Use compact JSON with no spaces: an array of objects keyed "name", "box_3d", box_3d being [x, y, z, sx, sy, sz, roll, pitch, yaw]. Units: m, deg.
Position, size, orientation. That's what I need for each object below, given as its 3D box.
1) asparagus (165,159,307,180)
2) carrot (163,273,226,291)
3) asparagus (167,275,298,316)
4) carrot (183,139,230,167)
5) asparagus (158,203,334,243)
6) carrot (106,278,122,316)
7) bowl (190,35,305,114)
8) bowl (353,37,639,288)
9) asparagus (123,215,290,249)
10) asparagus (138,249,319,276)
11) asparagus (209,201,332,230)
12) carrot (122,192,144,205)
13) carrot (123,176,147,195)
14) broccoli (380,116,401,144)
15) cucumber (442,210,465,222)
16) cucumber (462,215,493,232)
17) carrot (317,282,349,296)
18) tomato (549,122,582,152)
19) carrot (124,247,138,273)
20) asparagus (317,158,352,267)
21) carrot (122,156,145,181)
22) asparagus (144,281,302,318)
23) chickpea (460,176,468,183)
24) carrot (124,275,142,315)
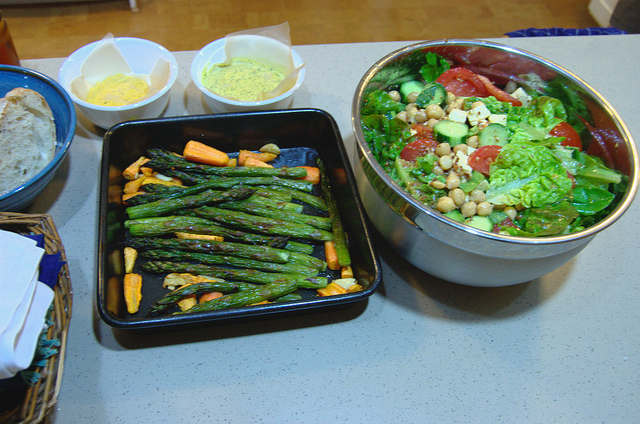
[{"name":"asparagus","box_3d":[-0.349,-0.164,1.992,0.541,0.060,0.057,1,41,-2]},{"name":"carrot","box_3d":[-0.408,0.231,1.782,0.271,0.066,0.058,-1,100,-11]},{"name":"asparagus","box_3d":[-0.256,0.287,1.735,0.390,0.045,0.064,-14,61,-10]},{"name":"carrot","box_3d":[-0.448,-0.223,1.993,0.188,0.067,0.071,16,72,-4]},{"name":"asparagus","box_3d":[-0.295,0.044,1.881,0.624,0.075,0.054,7,100,1]},{"name":"carrot","box_3d":[-0.678,0.275,1.684,0.032,0.082,0.091,-8,78,16]},{"name":"bowl","box_3d":[-0.293,-0.550,2.132,0.458,0.179,0.441,1,58,-1]},{"name":"bowl","box_3d":[0.586,-0.079,2.165,1.188,0.540,0.916,-1,59,-3]},{"name":"asparagus","box_3d":[-0.422,0.076,1.855,0.521,0.070,0.069,4,38,-6]},{"name":"asparagus","box_3d":[-0.331,0.180,1.808,0.529,0.048,0.044,5,83,-2]},{"name":"asparagus","box_3d":[-0.202,0.015,1.899,0.438,0.045,0.053,8,76,0]},{"name":"carrot","box_3d":[-0.700,-0.049,1.927,0.054,0.057,0.018,-43,113,-53]},{"name":"carrot","box_3d":[-0.700,-0.098,1.937,0.074,0.024,0.039,-41,95,-31]},{"name":"broccoli","box_3d":[0.257,-0.291,1.854,0.077,0.098,0.029,-16,40,18]},{"name":"cucumber","box_3d":[0.451,0.012,1.724,0.057,0.043,0.024,11,87,23]},{"name":"cucumber","box_3d":[0.533,0.033,1.715,0.101,0.017,0.058,9,58,5]},{"name":"carrot","box_3d":[0.042,0.270,1.769,0.073,0.030,0.060,-30,64,-18]},{"name":"tomato","box_3d":[0.905,-0.285,1.925,0.127,0.108,0.094,6,88,15]},{"name":"carrot","box_3d":[-0.664,0.164,1.787,0.049,0.017,0.076,3,57,-7]},{"name":"asparagus","box_3d":[0.043,-0.011,1.941,0.066,0.052,0.480,-7,56,-6]},{"name":"carrot","box_3d":[-0.710,-0.162,1.948,0.049,0.036,0.091,15,48,16]},{"name":"asparagus","box_3d":[-0.321,0.295,1.710,0.530,0.064,0.088,-4,24,-10]},{"name":"chickpea","box_3d":[0.501,-0.113,1.770,0.020,0.012,0.023,-1,59,-2]},{"name":"carrot","box_3d":[-0.630,0.271,1.724,0.074,0.038,0.111,1,77,-11]}]
